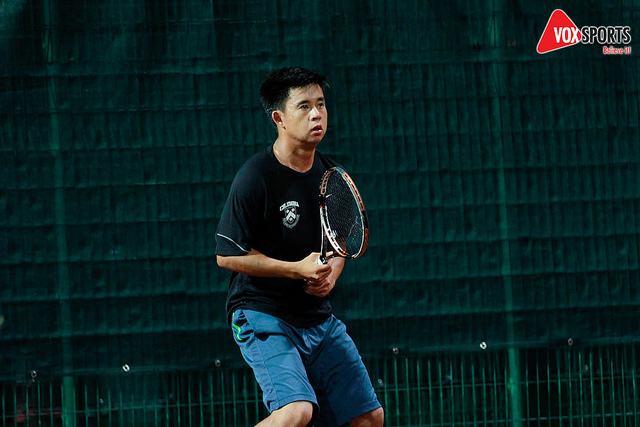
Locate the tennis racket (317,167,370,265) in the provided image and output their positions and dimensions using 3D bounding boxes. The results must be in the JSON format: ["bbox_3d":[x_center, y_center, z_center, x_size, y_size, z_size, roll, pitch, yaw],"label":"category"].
[{"bbox_3d":[0.138,-0.001,7.224,0.398,0.731,0.314,-8,-7,-1],"label":"tennis racket"}]

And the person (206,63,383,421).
[{"bbox_3d":[-0.211,0.296,7.259,1.068,2.720,0.538,-7,-7,-6],"label":"person"}]

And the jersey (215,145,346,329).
[{"bbox_3d":[-0.289,0.167,7.242,0.611,1.305,1.138,-5,-10,42],"label":"jersey"}]
